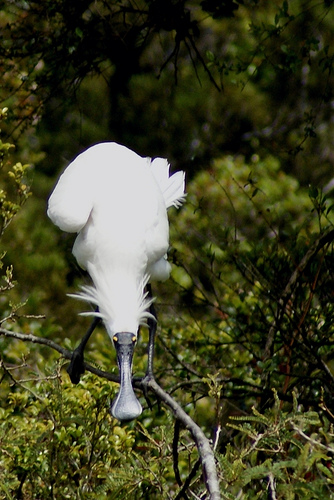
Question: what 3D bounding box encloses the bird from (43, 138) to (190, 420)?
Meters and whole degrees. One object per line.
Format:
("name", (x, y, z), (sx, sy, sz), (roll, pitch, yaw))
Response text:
("bird", (-0.277, 0.049, 4.260), (0.664, 1.630, 0.685), (2, -9, -9))
